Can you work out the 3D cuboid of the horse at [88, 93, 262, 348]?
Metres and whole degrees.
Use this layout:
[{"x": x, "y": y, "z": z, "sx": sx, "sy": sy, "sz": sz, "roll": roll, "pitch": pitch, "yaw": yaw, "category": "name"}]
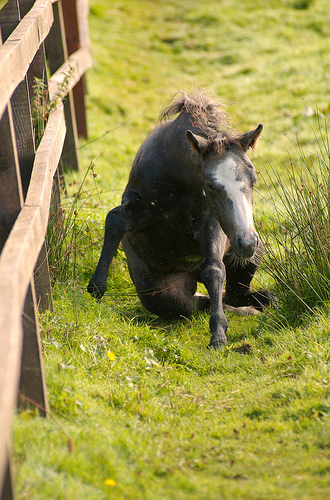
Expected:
[{"x": 0.246, "y": -0.125, "z": 4.639, "sx": 0.810, "sy": 2.103, "sz": 1.338, "roll": 13, "pitch": 69, "yaw": -9, "category": "horse"}]
